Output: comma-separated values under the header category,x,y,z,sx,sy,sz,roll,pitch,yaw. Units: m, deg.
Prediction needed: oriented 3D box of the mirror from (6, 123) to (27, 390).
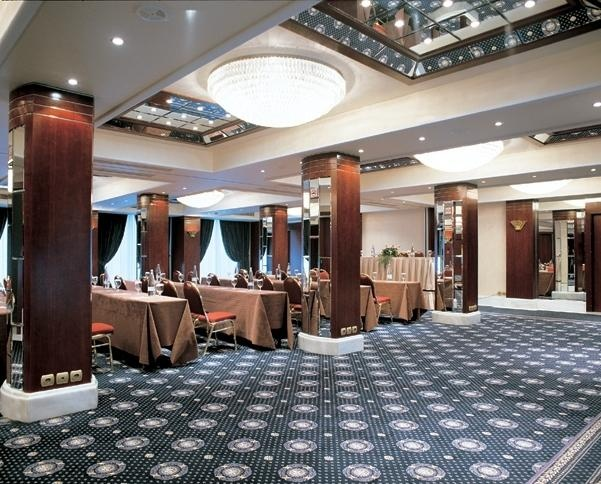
category,x,y,z,sx,sy,sz,roll,pitch,yaw
mirror,-2.944,0.155,4.245,0.339,2.704,0.086,-2,-2,40

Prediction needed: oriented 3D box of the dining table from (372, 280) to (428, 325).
category,x,y,z,sx,sy,sz,roll,pitch,yaw
dining table,2.359,1.295,9.712,1.140,0.832,0.901,0,3,41

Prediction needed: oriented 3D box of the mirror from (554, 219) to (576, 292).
category,x,y,z,sx,sy,sz,roll,pitch,yaw
mirror,8.644,0.503,13.429,0.565,2.090,0.677,-2,-2,34

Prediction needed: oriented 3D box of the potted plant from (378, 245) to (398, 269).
category,x,y,z,sx,sy,sz,roll,pitch,yaw
potted plant,2.442,0.445,11.556,0.547,0.536,0.527,6,-5,-15
